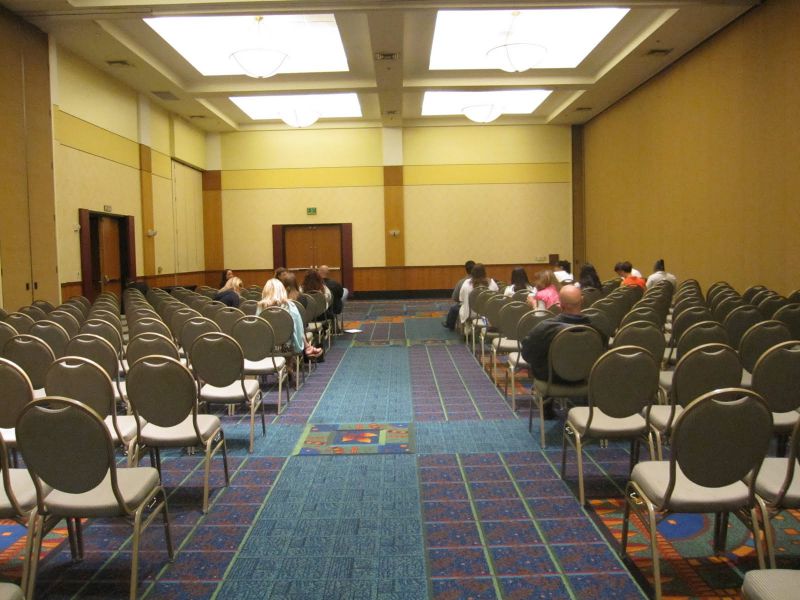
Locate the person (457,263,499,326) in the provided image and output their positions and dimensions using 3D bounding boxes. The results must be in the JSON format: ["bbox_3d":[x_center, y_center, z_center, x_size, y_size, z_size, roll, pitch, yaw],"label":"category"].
[{"bbox_3d":[1.405,-0.138,10.467,0.862,1.428,1.035,2,19,9],"label":"person"}]
